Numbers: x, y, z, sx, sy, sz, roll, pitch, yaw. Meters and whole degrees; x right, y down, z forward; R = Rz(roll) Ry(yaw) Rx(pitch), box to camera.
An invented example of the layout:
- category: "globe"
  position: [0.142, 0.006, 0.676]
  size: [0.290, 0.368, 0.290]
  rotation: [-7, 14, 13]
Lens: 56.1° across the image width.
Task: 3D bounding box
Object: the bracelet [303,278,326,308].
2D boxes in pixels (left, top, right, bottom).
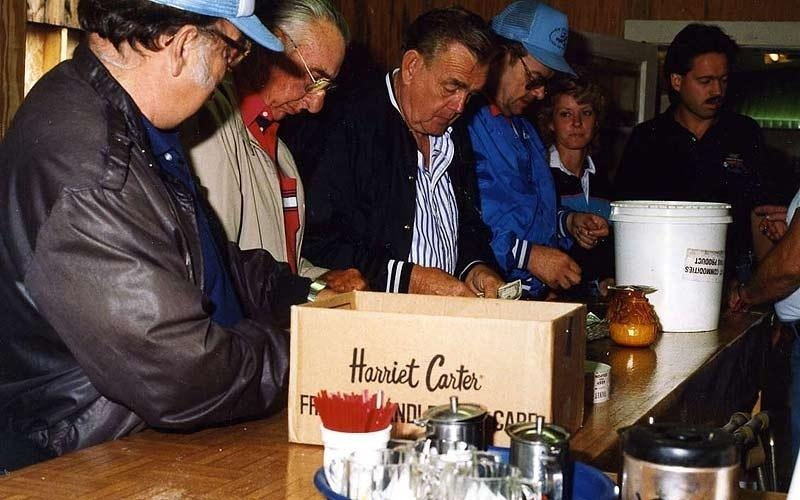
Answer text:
- category: "bracelet"
  position: [-0.253, 0.117, 2.191]
  size: [0.047, 0.068, 0.023]
  rotation: [17, -4, 35]

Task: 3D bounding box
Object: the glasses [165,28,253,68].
- category: "glasses"
  position: [-0.462, -0.565, 1.937]
  size: [0.116, 0.041, 0.089]
  rotation: [35, 5, -14]

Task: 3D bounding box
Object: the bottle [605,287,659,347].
- category: "bottle"
  position: [0.783, 0.222, 2.524]
  size: [0.170, 0.210, 0.142]
  rotation: [3, 9, 10]

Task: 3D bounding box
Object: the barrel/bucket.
- category: "barrel/bucket"
  position: [1.035, 0.005, 2.878]
  size: [0.438, 0.518, 0.473]
  rotation: [-4, 13, 1]

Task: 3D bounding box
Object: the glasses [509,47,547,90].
- category: "glasses"
  position: [0.534, -0.872, 3.317]
  size: [0.049, 0.185, 0.169]
  rotation: [-28, -15, 24]

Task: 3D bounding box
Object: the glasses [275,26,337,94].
- category: "glasses"
  position: [-0.325, -0.697, 2.532]
  size: [0.054, 0.201, 0.181]
  rotation: [-22, -7, 23]

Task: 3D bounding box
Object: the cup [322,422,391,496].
- category: "cup"
  position: [-0.086, 0.439, 1.509]
  size: [0.110, 0.141, 0.121]
  rotation: [1, -9, 0]
